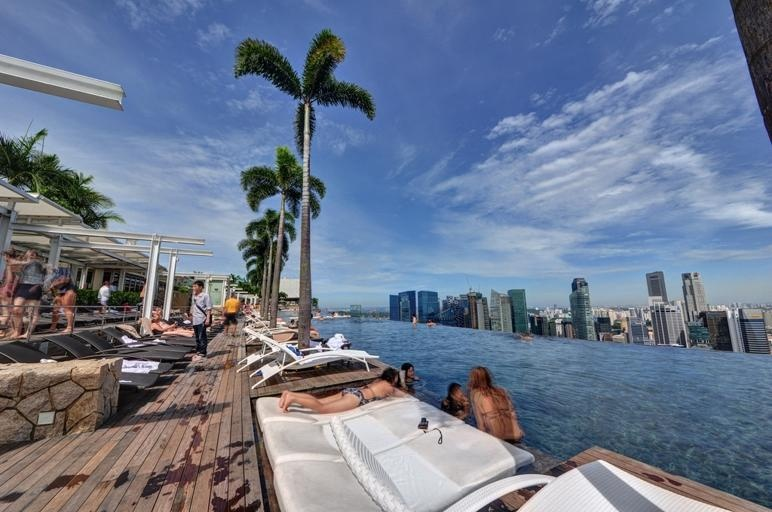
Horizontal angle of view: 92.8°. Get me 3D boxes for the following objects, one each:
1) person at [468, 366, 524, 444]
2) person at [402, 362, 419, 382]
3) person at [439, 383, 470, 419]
[{"bbox_3d":[3.703,5.174,12.732,1.644,2.499,0.560,-1,-13,10],"label":"person"},{"bbox_3d":[1.037,5.083,15.802,0.453,0.474,0.950,-19,-11,18],"label":"person"},{"bbox_3d":[2.590,5.407,13.568,1.196,1.188,0.581,9,-15,-29],"label":"person"}]
